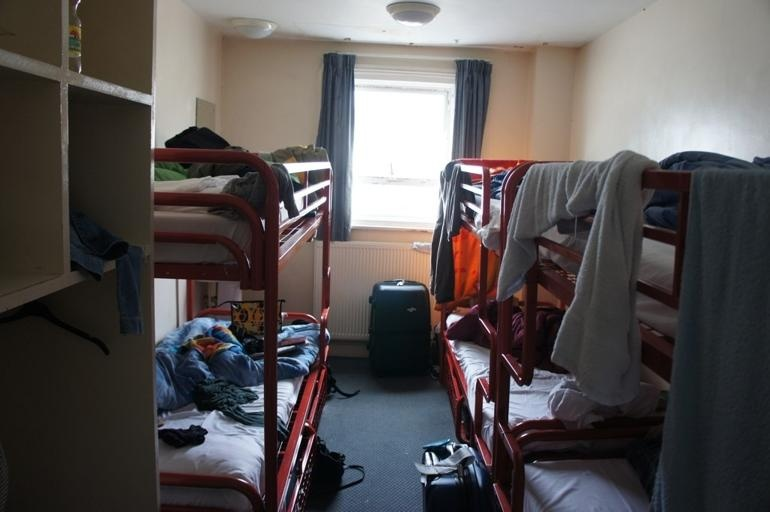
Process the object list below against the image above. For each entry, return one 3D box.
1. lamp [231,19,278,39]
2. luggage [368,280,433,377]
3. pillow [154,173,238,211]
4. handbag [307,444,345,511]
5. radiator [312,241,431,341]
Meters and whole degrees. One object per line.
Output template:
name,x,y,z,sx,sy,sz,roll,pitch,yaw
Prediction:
lamp,-1.021,-1.777,4.595,0.351,0.109,0.212,-1,15,-8
luggage,0.171,0.681,5.322,0.563,0.844,0.472,0,-16,0
pillow,-0.994,-0.353,2.988,0.294,0.083,0.252,1,22,6
handbag,-0.364,1.354,3.661,0.266,0.273,0.087,19,-18,-25
radiator,0.007,0.312,5.347,1.095,0.952,0.113,-2,-25,35
